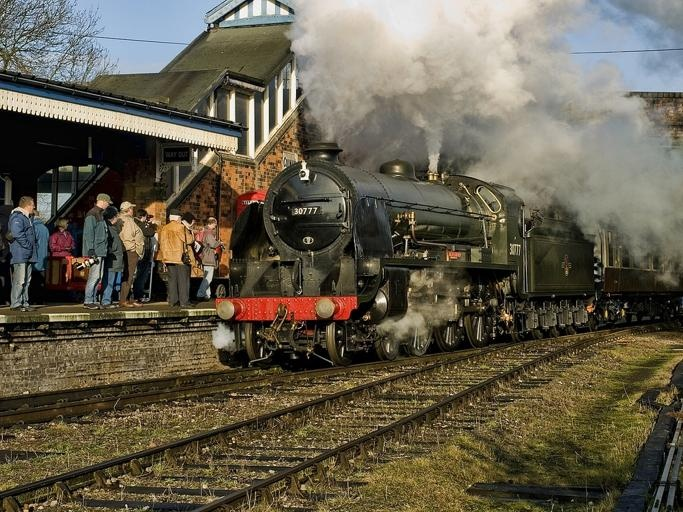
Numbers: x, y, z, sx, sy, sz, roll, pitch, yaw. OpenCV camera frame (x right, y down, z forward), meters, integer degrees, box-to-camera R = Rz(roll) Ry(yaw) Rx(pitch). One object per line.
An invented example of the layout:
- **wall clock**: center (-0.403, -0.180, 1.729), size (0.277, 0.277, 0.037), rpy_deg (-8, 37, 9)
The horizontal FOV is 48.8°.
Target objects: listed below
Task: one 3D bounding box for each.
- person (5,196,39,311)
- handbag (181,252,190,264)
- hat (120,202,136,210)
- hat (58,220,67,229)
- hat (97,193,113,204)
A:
- **person**: center (-5.102, -0.030, 11.950), size (0.401, 1.778, 0.425), rpy_deg (3, -5, -24)
- **handbag**: center (-2.969, 0.075, 14.361), size (0.117, 0.183, 0.174), rpy_deg (1, 1, 11)
- **hat**: center (-4.034, -0.929, 14.192), size (0.189, 0.123, 0.275), rpy_deg (1, 6, 25)
- **hat**: center (-5.616, -0.631, 15.096), size (0.172, 0.194, 0.404), rpy_deg (3, -5, -24)
- **hat**: center (-4.124, -0.991, 13.111), size (0.210, 0.168, 0.302), rpy_deg (6, 10, 26)
